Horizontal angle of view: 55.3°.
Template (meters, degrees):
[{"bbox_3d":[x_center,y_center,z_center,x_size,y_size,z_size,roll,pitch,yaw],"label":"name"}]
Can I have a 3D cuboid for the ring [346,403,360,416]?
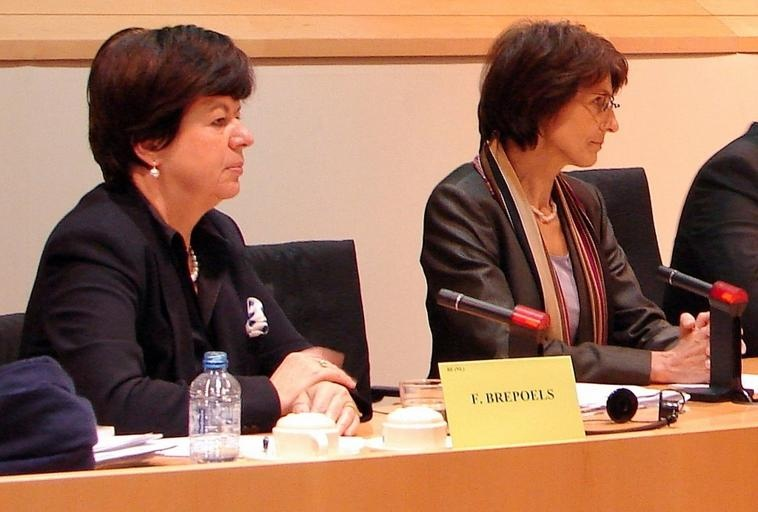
[{"bbox_3d":[-0.068,0.380,1.798,0.018,0.035,0.036,-24,-2,6],"label":"ring"}]

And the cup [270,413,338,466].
[{"bbox_3d":[-0.121,0.306,1.231,0.074,0.057,0.092,0,1,-17],"label":"cup"}]

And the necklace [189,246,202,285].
[{"bbox_3d":[-0.533,0.022,2.079,0.034,0.077,0.059,6,-21,-13],"label":"necklace"}]

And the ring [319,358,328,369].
[{"bbox_3d":[-0.146,0.284,1.908,0.017,0.006,0.016,24,19,-9],"label":"ring"}]

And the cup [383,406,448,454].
[{"bbox_3d":[0.063,0.307,1.269,0.083,0.044,0.082,0,-5,0],"label":"cup"}]

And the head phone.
[{"bbox_3d":[0.531,0.315,1.464,0.145,0.050,0.108,-2,2,-21],"label":"head phone"}]

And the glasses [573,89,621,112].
[{"bbox_3d":[0.746,-0.544,2.562,0.119,0.034,0.117,3,-1,-32],"label":"glasses"}]
